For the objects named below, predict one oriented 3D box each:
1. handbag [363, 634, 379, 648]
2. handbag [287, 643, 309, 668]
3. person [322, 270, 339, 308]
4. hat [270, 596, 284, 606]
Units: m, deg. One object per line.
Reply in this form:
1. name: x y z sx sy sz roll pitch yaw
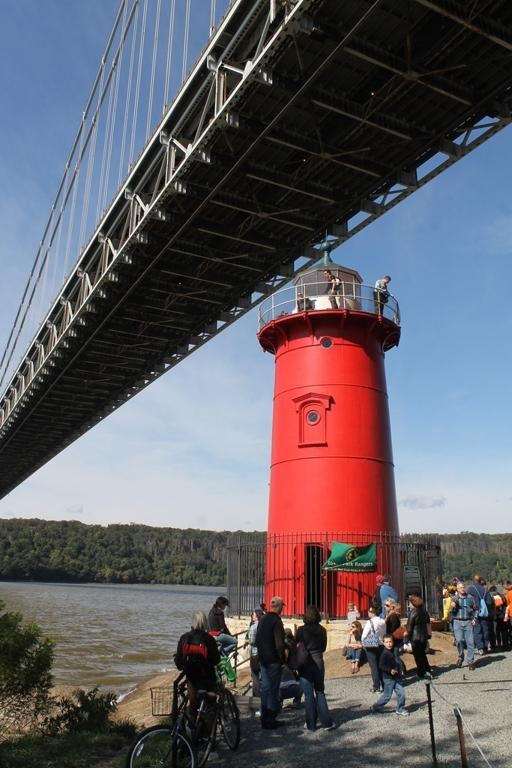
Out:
1. handbag: 1.470 3.315 8.739 0.179 0.174 0.075 -2 -2 27
2. handbag: 0.447 3.007 7.447 0.233 0.285 0.115 -7 -16 23
3. person: 1.906 -2.386 17.250 0.346 1.258 0.532 -1 -15 1
4. hat: 0.217 2.577 8.060 0.143 0.106 0.233 0 -18 15
